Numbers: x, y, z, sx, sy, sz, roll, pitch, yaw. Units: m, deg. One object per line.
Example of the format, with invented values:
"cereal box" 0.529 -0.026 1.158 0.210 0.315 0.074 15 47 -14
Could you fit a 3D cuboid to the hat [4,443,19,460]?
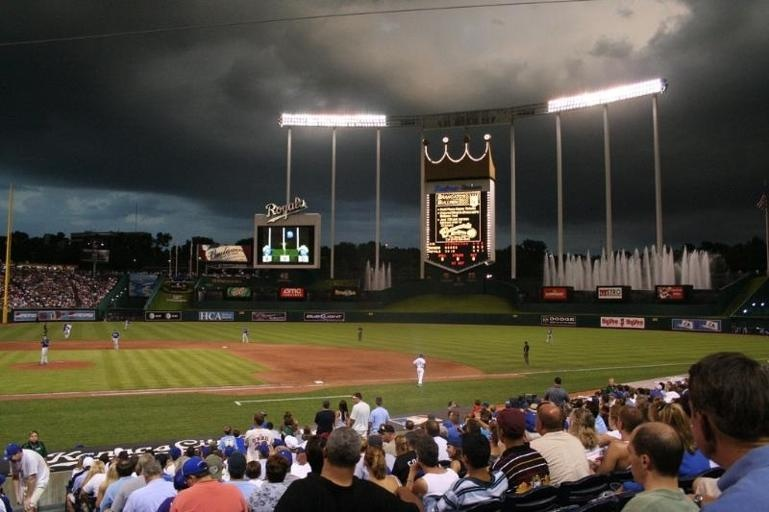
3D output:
"hat" -11.396 5.998 22.749 0.381 0.302 0.525 -2 14 3
